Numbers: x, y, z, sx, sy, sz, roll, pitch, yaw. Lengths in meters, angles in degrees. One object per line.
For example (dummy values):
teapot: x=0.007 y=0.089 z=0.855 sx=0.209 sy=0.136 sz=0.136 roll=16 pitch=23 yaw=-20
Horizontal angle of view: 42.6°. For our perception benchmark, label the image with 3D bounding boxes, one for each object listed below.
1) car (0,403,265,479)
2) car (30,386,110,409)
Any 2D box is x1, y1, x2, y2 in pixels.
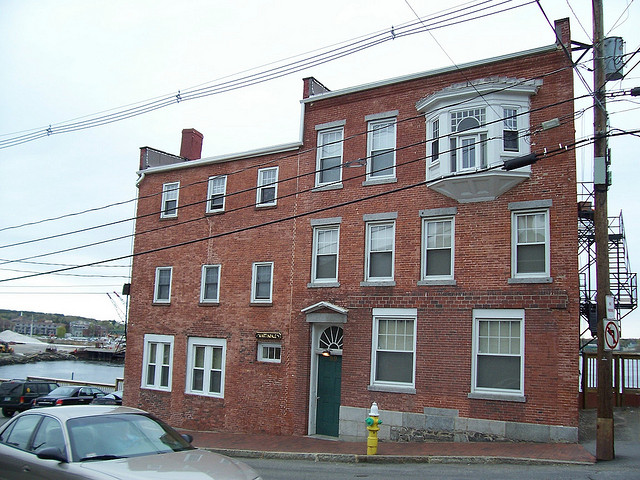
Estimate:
car: x=-4.737 y=4.719 z=18.708 sx=4.817 sy=1.224 sz=2.476 roll=-10 pitch=-16 yaw=34
car: x=-11.168 y=6.924 z=36.270 sx=1.159 sy=0.638 sz=2.385 roll=-4 pitch=-6 yaw=31
